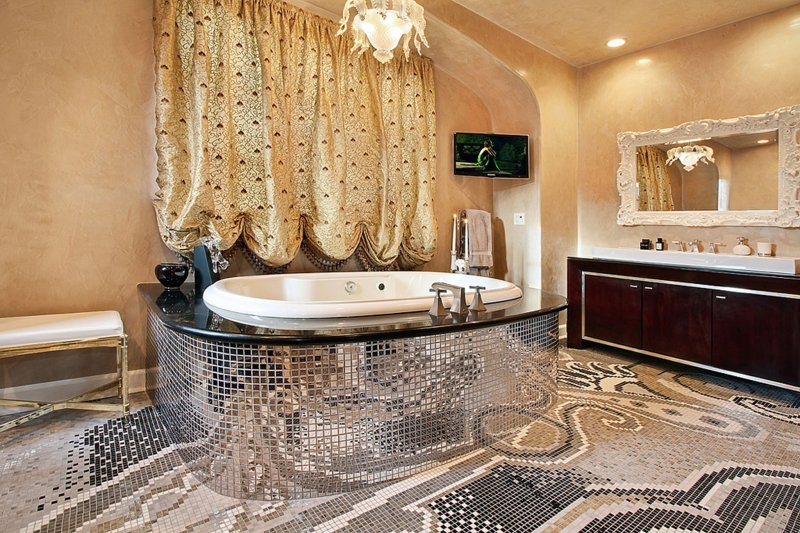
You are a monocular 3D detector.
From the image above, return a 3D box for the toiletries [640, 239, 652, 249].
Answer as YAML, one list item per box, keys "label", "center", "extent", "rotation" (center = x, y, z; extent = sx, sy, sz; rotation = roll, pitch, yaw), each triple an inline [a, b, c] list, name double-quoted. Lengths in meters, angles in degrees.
- label: "toiletries"
  center: [2.299, -0.202, 5.201]
  extent: [0.102, 0.090, 0.124]
  rotation: [0, 6, 21]

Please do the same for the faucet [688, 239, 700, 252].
- label: "faucet"
  center: [2.637, -0.178, 4.981]
  extent: [0.062, 0.058, 0.109]
  rotation: [9, 16, -25]

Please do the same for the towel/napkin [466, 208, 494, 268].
- label: "towel/napkin"
  center: [0.746, -0.265, 5.428]
  extent: [0.370, 0.573, 0.195]
  rotation: [-7, 8, -40]

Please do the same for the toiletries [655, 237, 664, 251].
- label: "toiletries"
  center: [2.408, -0.205, 5.145]
  extent: [0.080, 0.106, 0.152]
  rotation: [1, 7, 24]

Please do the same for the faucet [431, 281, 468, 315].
- label: "faucet"
  center: [0.324, 0.212, 3.586]
  extent: [0.185, 0.199, 0.210]
  rotation: [2, 7, 31]

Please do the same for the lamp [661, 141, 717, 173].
- label: "lamp"
  center: [2.603, -0.977, 5.017]
  extent: [0.262, 0.196, 0.289]
  rotation: [6, 10, 43]
